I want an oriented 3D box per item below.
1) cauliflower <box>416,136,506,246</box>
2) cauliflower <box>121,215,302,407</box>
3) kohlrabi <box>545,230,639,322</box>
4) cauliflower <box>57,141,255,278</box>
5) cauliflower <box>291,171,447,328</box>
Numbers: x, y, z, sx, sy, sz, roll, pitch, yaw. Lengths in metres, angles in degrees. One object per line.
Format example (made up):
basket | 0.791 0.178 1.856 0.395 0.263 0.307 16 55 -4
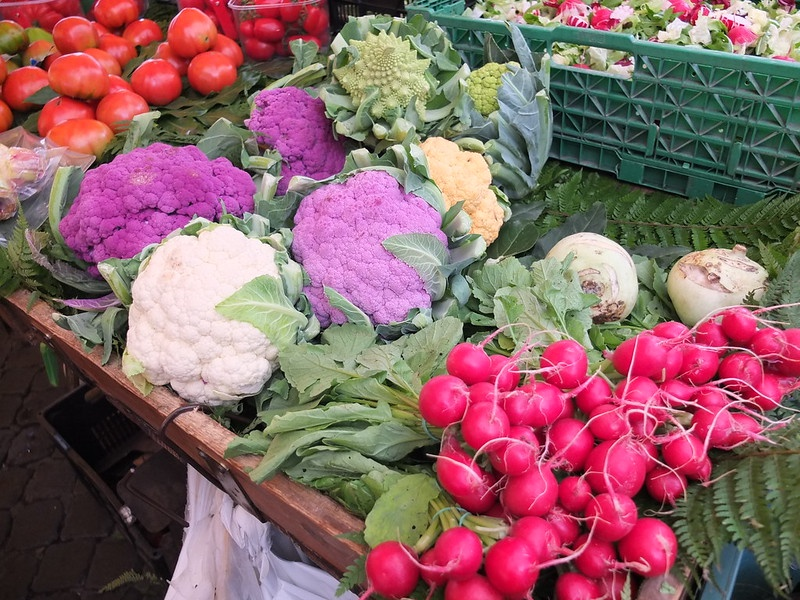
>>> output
cauliflower | 0.227 -0.390 1.991 0.165 0.267 0.340 -19 76 -15
cauliflower | -0.573 0.020 1.798 0.466 0.370 0.537 12 56 -13
kohlrabi | 0.628 -0.079 1.792 0.263 0.156 0.285 -11 79 15
cauliflower | -0.803 -0.312 1.964 0.502 0.427 0.287 -29 92 8
cauliflower | -0.101 -0.155 1.802 0.486 0.236 0.452 3 59 -3
